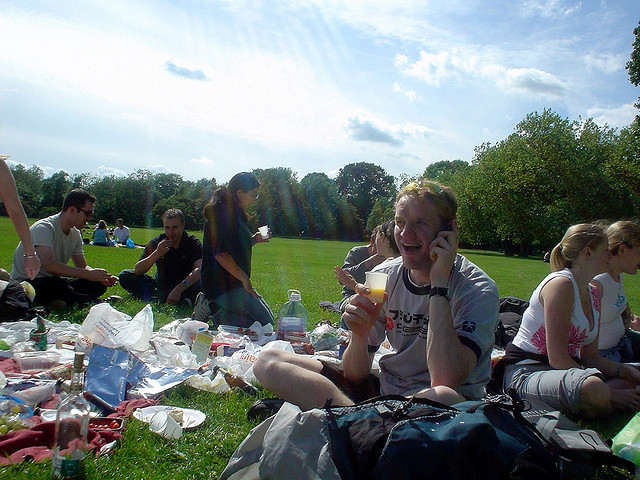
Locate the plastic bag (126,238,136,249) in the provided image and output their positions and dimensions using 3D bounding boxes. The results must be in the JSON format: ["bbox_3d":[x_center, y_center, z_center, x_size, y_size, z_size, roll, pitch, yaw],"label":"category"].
[{"bbox_3d":[-12.775,0.242,26.655,0.468,0.424,0.785,1,38,-52],"label":"plastic bag"}]

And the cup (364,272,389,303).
[{"bbox_3d":[0.450,0.397,3.343,0.199,0.249,0.204,5,-9,1],"label":"cup"}]

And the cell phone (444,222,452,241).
[{"bbox_3d":[1.088,-0.071,3.359,0.037,0.141,0.093,9,-2,-34],"label":"cell phone"}]

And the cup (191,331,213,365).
[{"bbox_3d":[-1.378,1.223,4.499,0.215,0.291,0.199,3,2,0],"label":"cup"}]

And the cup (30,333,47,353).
[{"bbox_3d":[-2.919,1.069,4.103,0.147,0.189,0.300,1,2,-37],"label":"cup"}]

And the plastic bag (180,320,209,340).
[{"bbox_3d":[-1.658,1.170,5.199,0.323,0.188,0.311,4,2,30],"label":"plastic bag"}]

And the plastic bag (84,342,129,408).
[{"bbox_3d":[-1.971,1.225,3.630,0.351,0.078,0.601,33,13,-34],"label":"plastic bag"}]

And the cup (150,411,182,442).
[{"bbox_3d":[-1.224,1.479,3.198,0.214,0.174,0.213,52,12,-15],"label":"cup"}]

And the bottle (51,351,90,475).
[{"bbox_3d":[-1.529,1.081,2.434,0.188,0.847,0.277,1,3,-35],"label":"bottle"}]
